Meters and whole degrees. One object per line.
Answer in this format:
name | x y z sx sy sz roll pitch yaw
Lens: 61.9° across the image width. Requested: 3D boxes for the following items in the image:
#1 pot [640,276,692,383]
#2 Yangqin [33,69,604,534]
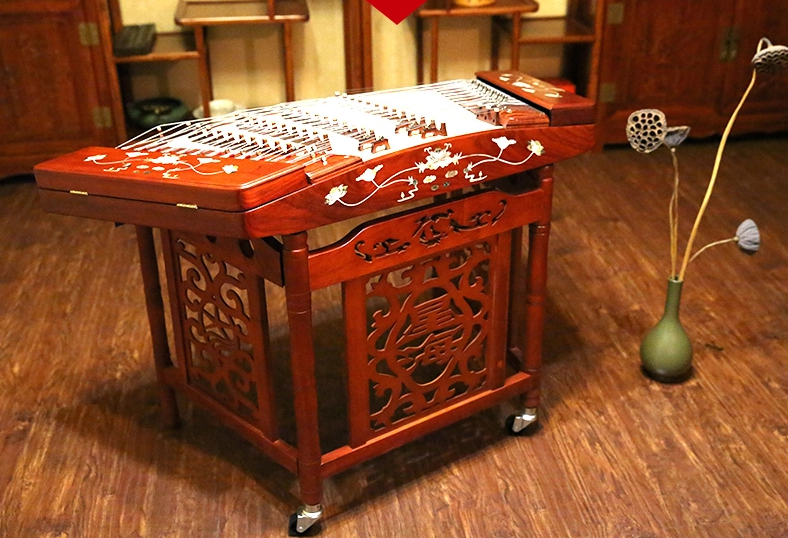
pot | 0.988 0.210 2.331 0.180 0.380 0.174 -1 29 1
Yangqin | -0.228 0.179 2.077 1.369 0.996 0.769 -21 38 -26
